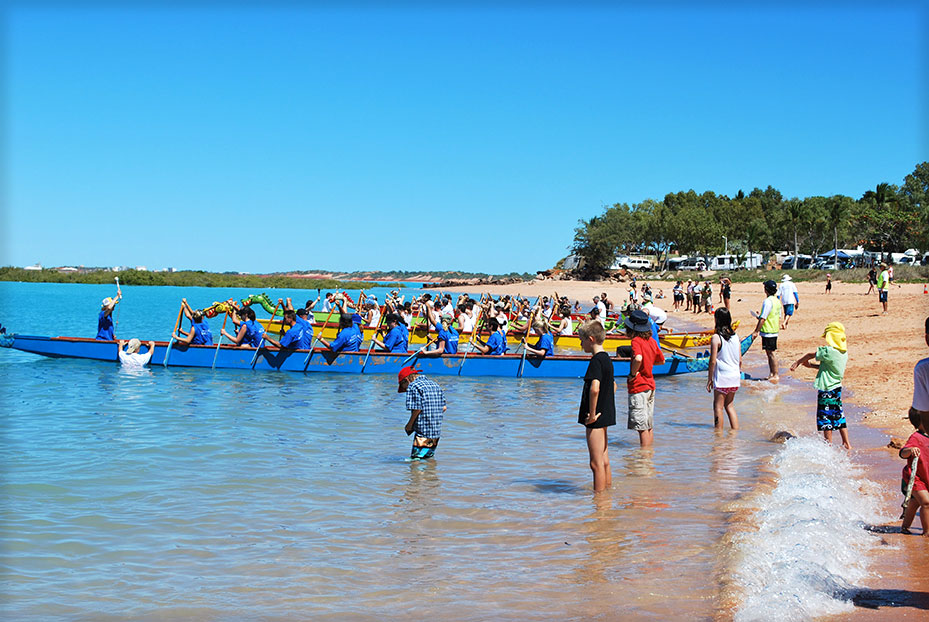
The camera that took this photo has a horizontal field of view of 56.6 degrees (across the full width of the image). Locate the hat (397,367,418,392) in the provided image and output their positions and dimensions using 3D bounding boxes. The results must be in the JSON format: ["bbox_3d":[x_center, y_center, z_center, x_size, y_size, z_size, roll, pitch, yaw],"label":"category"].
[{"bbox_3d":[-1.001,1.209,15.411,0.366,0.567,0.672,-2,10,-3],"label":"hat"}]

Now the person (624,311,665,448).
[{"bbox_3d":[3.215,1.324,15.367,0.594,2.738,1.373,1,11,13],"label":"person"}]

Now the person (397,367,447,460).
[{"bbox_3d":[-0.772,1.855,15.704,0.745,1.943,0.974,-2,11,-3],"label":"person"}]

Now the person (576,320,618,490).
[{"bbox_3d":[2.034,1.562,13.308,0.539,2.955,1.000,0,11,8],"label":"person"}]

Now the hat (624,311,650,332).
[{"bbox_3d":[2.968,0.142,14.948,0.345,0.112,0.374,8,19,-26],"label":"hat"}]

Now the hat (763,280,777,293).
[{"bbox_3d":[7.097,-0.531,19.936,0.309,0.240,0.436,-4,20,10],"label":"hat"}]

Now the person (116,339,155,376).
[{"bbox_3d":[-9.815,1.404,25.617,0.917,1.378,0.463,2,14,-4],"label":"person"}]

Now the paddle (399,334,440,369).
[{"bbox_3d":[-1.178,1.216,25.229,1.623,0.522,0.140,-32,-7,-22],"label":"paddle"}]

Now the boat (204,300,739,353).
[{"bbox_3d":[-0.332,0.501,28.207,13.444,1.868,2.219,0,5,3],"label":"boat"}]

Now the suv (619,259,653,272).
[{"bbox_3d":[23.666,-6.867,118.954,4.229,1.836,2.442,6,4,1],"label":"suv"}]
